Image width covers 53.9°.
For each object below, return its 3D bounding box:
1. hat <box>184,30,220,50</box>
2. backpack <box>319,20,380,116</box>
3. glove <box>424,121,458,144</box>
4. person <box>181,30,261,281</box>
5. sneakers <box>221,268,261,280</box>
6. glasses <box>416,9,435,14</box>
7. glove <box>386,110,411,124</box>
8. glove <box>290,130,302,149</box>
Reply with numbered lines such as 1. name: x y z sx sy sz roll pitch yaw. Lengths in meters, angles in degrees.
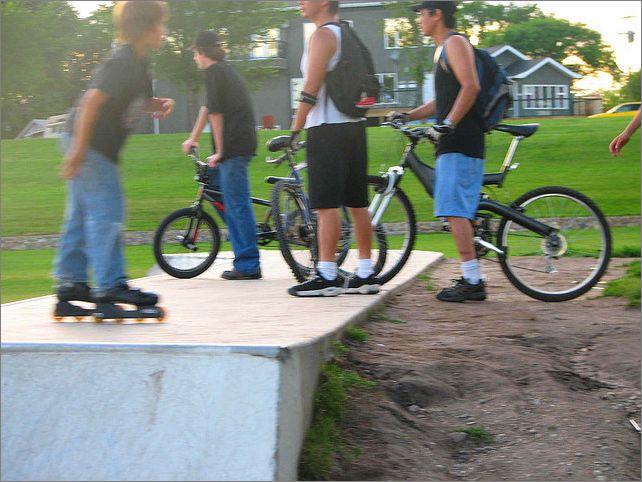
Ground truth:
1. hat: -1.119 -1.926 6.085 0.367 0.129 0.206 4 19 5
2. backpack: 0.232 -1.277 4.704 0.388 0.733 0.423 3 14 11
3. glove: 0.911 -0.846 4.949 0.122 0.090 0.277 -14 11 -32
4. person: -0.929 -0.842 6.073 0.652 2.375 1.054 -5 15 -20
5. sneakers: -0.777 0.316 6.038 0.421 0.105 0.109 3 2 -1
6. glasses: 0.831 -1.835 5.092 0.146 0.029 0.072 7 12 22
7. glove: 0.669 -1.080 5.544 0.228 0.084 0.088 3 10 7
8. glove: -0.210 -0.780 4.920 0.087 0.096 0.128 1 7 -3
